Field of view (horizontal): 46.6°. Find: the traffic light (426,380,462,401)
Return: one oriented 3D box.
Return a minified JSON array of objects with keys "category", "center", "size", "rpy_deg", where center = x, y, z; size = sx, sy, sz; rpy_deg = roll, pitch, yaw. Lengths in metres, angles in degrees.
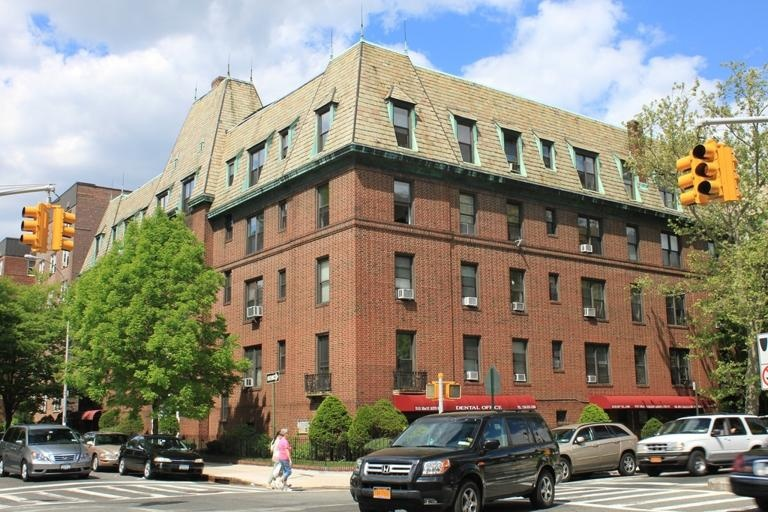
[{"category":"traffic light","center":[2.476,5.853,39.504],"size":[1.466,0.907,1.107],"rpy_deg":[10,-23,-26]}]

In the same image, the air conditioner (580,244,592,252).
[{"category":"air conditioner","center":[12.455,-0.439,54.778],"size":[0.843,0.513,0.448],"rpy_deg":[7,-15,-36]}]

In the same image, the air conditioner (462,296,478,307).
[{"category":"air conditioner","center":[4.828,2.687,50.068],"size":[1.010,0.601,0.539],"rpy_deg":[11,-20,-35]}]

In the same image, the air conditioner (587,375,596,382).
[{"category":"air conditioner","center":[12.452,7.364,53.394],"size":[0.675,0.450,0.350],"rpy_deg":[1,-1,5]}]

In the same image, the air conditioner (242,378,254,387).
[{"category":"air conditioner","center":[-8.046,7.432,52.737],"size":[0.634,0.612,0.527],"rpy_deg":[3,-21,-9]}]

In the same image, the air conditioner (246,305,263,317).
[{"category":"air conditioner","center":[-7.762,3.377,53.446],"size":[0.701,0.744,1.277],"rpy_deg":[4,-8,-28]}]

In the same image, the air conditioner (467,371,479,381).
[{"category":"air conditioner","center":[4.882,6.650,49.354],"size":[0.936,0.531,0.491],"rpy_deg":[9,-16,-36]}]

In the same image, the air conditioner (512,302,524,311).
[{"category":"air conditioner","center":[7.763,2.962,51.512],"size":[0.797,0.480,0.413],"rpy_deg":[5,-4,-25]}]

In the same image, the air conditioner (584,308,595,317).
[{"category":"air conditioner","center":[12.499,3.440,53.950],"size":[0.886,0.592,0.476],"rpy_deg":[7,-13,-26]}]
